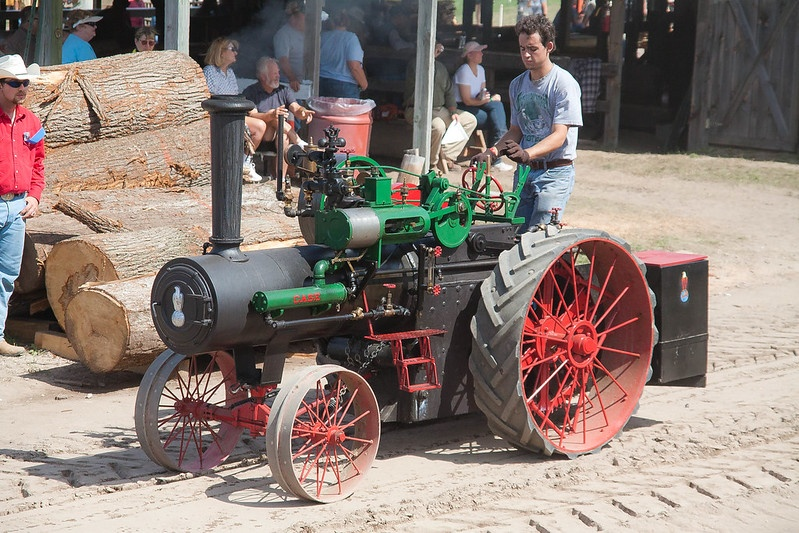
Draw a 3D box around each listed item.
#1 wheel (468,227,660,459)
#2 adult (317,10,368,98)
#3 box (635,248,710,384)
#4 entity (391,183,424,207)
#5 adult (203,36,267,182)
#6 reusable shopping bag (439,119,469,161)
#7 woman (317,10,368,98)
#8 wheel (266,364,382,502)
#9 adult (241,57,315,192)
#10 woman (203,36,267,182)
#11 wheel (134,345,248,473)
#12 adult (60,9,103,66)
[{"bbox_3d":[1.271,0.595,9.405,1.714,1.866,0.576,-14,15,-38],"label":"wheel"},{"bbox_3d":[-0.838,-2.969,16.489,0.647,1.181,0.455,1,10,-3],"label":"adult"},{"bbox_3d":[2.217,0.503,9.997,0.677,1.054,0.690,-5,-19,32],"label":"box"},{"bbox_3d":[0.000,-0.577,9.350,0.189,0.229,0.190,-5,8,-40],"label":"entity"},{"bbox_3d":[-2.064,-1.980,14.880,0.798,1.748,0.679,4,12,7],"label":"adult"},{"bbox_3d":[0.759,-1.940,17.352,0.473,0.526,0.127,-9,-29,2],"label":"reusable shopping bag"},{"bbox_3d":[-0.836,-2.967,16.479,0.649,1.181,0.530,1,10,-4],"label":"woman"},{"bbox_3d":[-0.587,1.175,9.121,0.829,1.007,1.153,2,11,1],"label":"wheel"},{"bbox_3d":[-1.627,-1.809,15.104,0.733,1.783,1.000,-14,20,-29],"label":"adult"},{"bbox_3d":[-2.077,-1.957,14.820,0.790,1.762,0.687,2,5,7],"label":"woman"},{"bbox_3d":[-1.830,1.032,9.465,0.367,1.125,1.069,16,16,16],"label":"wheel"},{"bbox_3d":[-4.085,-2.870,14.807,0.401,0.583,1.046,-1,11,-16],"label":"adult"}]
